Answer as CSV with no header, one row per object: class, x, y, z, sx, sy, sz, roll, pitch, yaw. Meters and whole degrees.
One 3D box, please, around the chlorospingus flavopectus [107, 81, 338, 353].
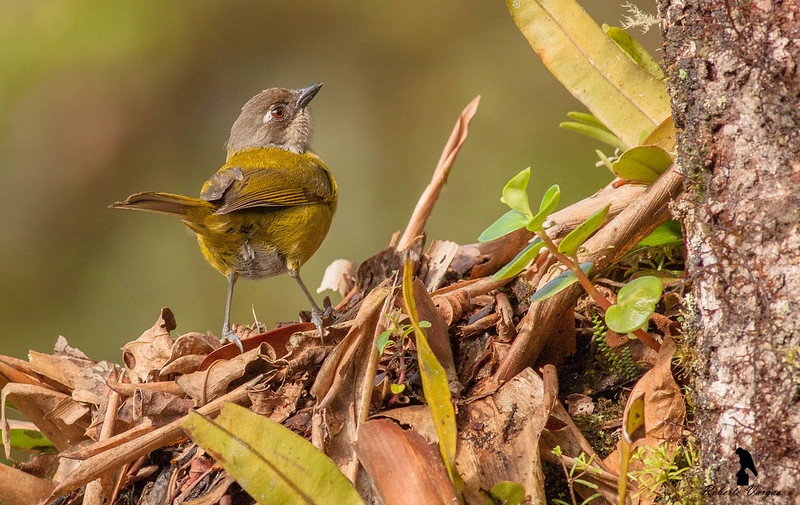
chlorospingus flavopectus,-0.820,-0.227,4.163,0.660,1.316,2.120,-7,3,15
